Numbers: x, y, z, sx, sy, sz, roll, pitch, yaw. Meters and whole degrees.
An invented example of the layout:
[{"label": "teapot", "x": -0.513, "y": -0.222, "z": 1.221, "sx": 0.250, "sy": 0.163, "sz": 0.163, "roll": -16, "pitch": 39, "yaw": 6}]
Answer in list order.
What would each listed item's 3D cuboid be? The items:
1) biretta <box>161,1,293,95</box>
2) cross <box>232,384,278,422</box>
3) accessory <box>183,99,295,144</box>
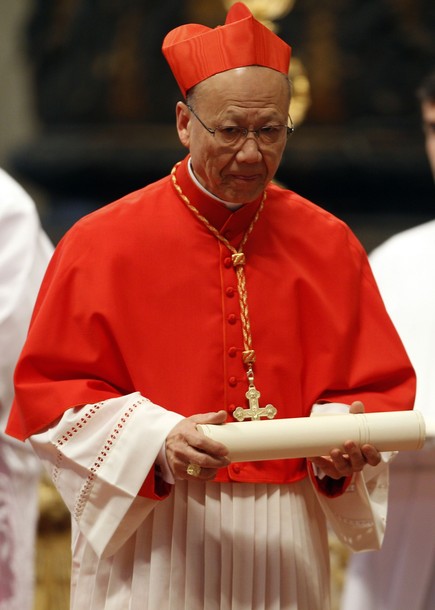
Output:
[{"label": "biretta", "x": 0.023, "y": -0.640, "z": 1.992, "sx": 0.302, "sy": 0.287, "sz": 0.165, "roll": -2, "pitch": 85, "yaw": -20}, {"label": "cross", "x": 0.085, "y": 0.243, "z": 1.918, "sx": 0.120, "sy": 0.017, "sz": 0.120, "roll": -1, "pitch": 54, "yaw": -1}, {"label": "accessory", "x": 0.013, "y": -0.433, "z": 1.874, "sx": 0.269, "sy": 0.053, "sz": 0.140, "roll": 16, "pitch": 42, "yaw": 19}]
